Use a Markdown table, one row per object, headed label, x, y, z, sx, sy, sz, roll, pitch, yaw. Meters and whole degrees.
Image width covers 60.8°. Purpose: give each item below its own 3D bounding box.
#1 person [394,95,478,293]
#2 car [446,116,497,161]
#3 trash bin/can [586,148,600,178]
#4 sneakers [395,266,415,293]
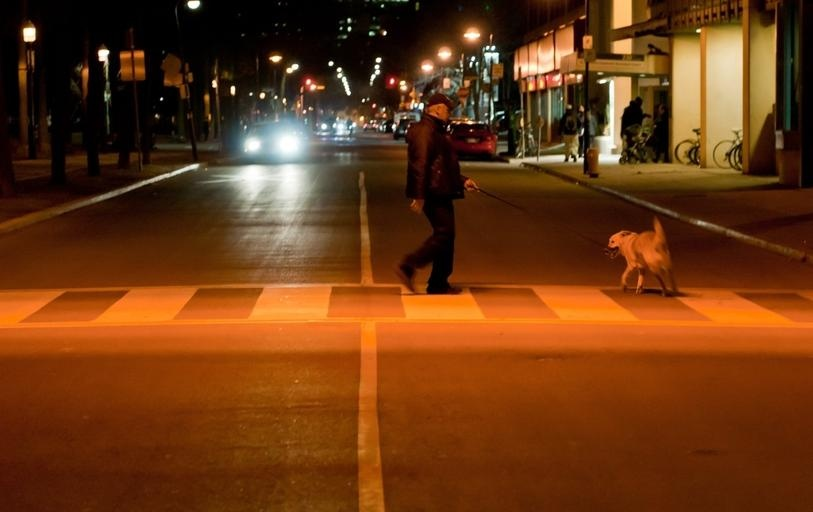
| label | x | y | z | sx | sy | sz | roll | pitch | yaw |
| --- | --- | --- | --- | --- | --- | --- | --- | --- | --- |
| person | 0.416 | -0.922 | 10.339 | 1.020 | 2.990 | 0.775 | -3 | 8 | -24 |
| car | 4.105 | -7.685 | 45.314 | 2.570 | 1.916 | 6.204 | 1 | 12 | 0 |
| trash bin/can | 7.697 | -3.868 | 28.671 | 0.438 | 1.178 | 0.865 | 1 | 8 | 14 |
| sneakers | 0.006 | 0.310 | 10.507 | 0.171 | 0.534 | 0.207 | -24 | 12 | -12 |
